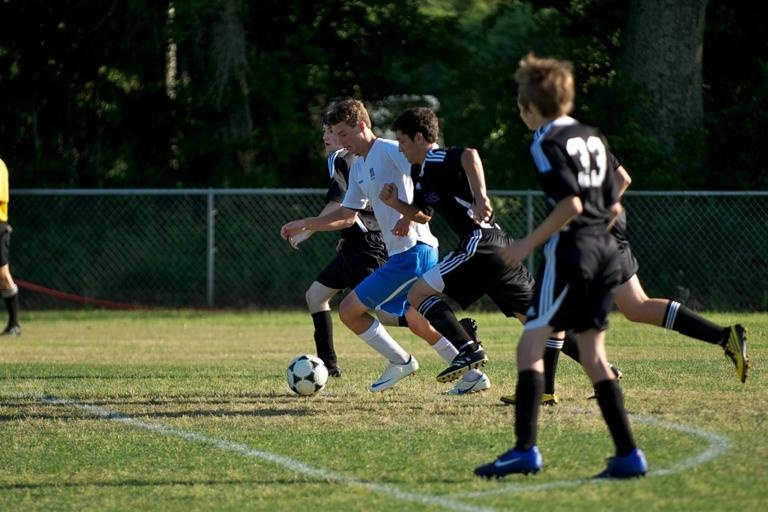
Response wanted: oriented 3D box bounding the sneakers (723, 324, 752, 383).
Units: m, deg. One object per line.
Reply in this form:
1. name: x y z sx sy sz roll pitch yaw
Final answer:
1. sneakers: 3.566 0.931 10.763 0.288 0.604 0.221 -14 8 9

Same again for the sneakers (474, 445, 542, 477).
1. sneakers: 1.129 1.853 9.655 0.659 0.271 0.233 -3 -8 -1
